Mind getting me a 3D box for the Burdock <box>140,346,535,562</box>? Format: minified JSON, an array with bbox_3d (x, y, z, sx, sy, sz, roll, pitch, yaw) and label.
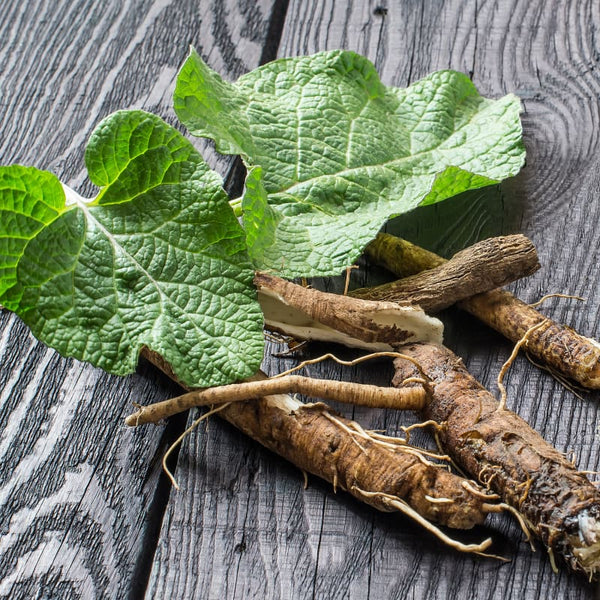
[{"bbox_3d":[-0.025,0.138,0.780,0.519,0.096,0.070,18,106,19],"label":"Burdock"}]
